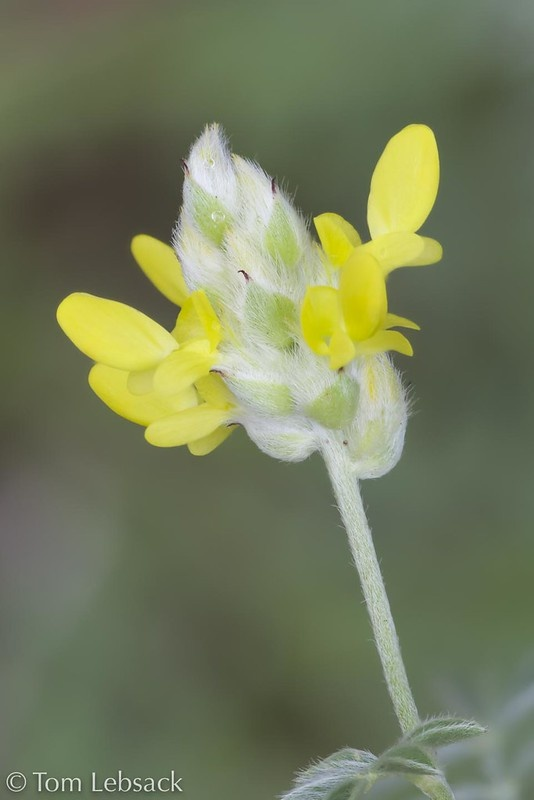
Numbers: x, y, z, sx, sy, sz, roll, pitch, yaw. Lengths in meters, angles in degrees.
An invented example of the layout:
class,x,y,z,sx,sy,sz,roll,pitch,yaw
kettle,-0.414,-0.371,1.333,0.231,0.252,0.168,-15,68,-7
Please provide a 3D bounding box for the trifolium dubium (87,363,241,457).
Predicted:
class,x,y,z,sx,sy,sz,roll,pitch,yaw
trifolium dubium,-0.097,0.013,0.772,0.133,0.097,0.038,30,-25,7
